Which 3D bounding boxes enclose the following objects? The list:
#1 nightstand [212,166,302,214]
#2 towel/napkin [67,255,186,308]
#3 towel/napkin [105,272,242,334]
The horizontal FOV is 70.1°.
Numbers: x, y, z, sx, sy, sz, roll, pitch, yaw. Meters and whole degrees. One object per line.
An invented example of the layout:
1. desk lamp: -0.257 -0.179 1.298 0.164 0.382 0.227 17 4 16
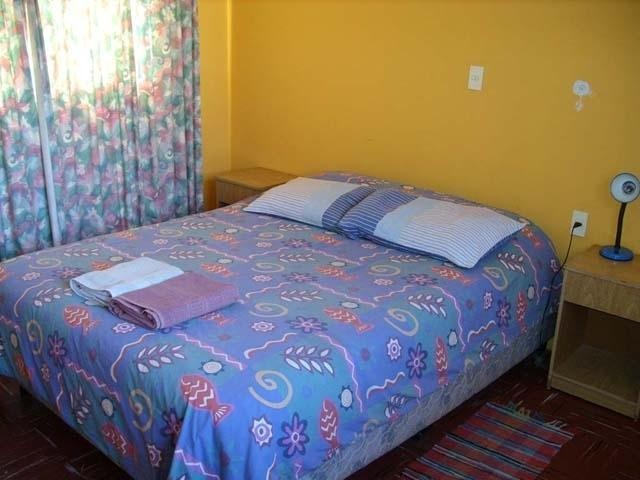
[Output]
1. nightstand: -0.545 -0.497 3.937 0.511 0.484 0.407 19 28 40
2. towel/napkin: -0.898 0.170 2.128 0.285 0.084 0.284 12 20 35
3. towel/napkin: -0.592 0.247 1.953 0.259 0.090 0.310 13 17 35
